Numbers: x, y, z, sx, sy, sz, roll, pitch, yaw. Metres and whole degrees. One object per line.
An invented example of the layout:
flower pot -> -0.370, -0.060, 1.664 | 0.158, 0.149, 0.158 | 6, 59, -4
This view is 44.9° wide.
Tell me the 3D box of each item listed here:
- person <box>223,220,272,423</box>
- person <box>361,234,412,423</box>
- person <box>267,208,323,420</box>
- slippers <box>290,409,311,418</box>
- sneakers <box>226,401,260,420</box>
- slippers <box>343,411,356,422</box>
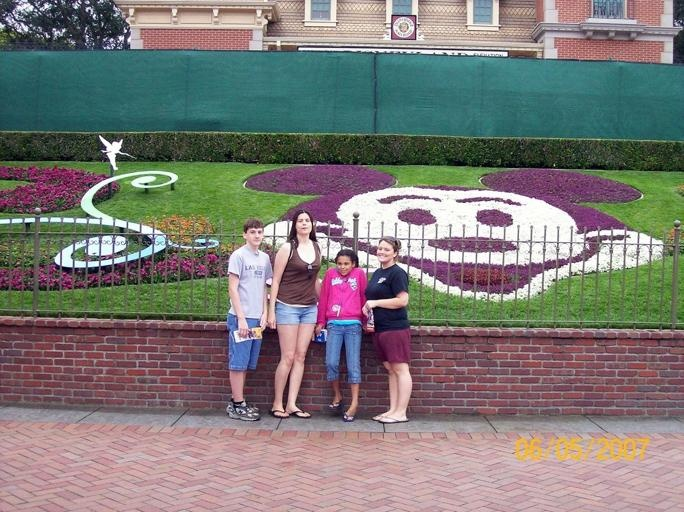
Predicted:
person -> -1.363, 0.918, 11.943 | 0.675, 2.800, 0.926 | 0, 15, 3
person -> 0.651, 1.074, 11.949 | 0.646, 2.608, 0.830 | -3, 15, -8
person -> -0.690, 0.852, 12.023 | 0.689, 2.937, 0.937 | 1, 15, 9
slippers -> -0.594, 2.297, 12.021 | 0.276, 0.055, 0.127 | 1, 2, 29
sneakers -> -1.414, 2.235, 11.921 | 0.483, 0.244, 0.196 | 4, 15, 18
slippers -> 0.124, 2.335, 11.986 | 0.205, 0.120, 0.152 | -4, 14, -16
